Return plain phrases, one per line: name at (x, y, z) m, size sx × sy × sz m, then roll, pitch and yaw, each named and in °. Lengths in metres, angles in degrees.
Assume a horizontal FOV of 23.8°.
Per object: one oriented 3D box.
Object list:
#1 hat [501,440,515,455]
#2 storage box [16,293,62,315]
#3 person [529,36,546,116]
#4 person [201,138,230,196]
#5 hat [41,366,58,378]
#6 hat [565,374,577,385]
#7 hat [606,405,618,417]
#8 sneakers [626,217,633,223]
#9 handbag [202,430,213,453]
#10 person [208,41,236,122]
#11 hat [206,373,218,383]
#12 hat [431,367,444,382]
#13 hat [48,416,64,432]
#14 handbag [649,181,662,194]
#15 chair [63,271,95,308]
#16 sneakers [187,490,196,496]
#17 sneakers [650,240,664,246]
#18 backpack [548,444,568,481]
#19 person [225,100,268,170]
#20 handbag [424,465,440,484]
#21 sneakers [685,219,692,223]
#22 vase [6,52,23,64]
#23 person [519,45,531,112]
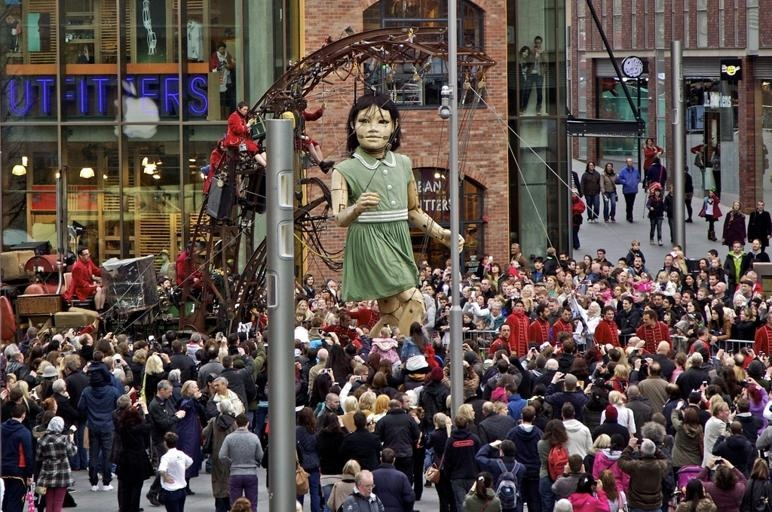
hat at (2.422, 3.805, 36.588) m, size 0.232 × 0.293 × 0.294 m, roll 1°, pitch 27°, yaw -5°
storage box at (-8.953, 1.153, 47.439) m, size 0.968 × 0.480 × 0.525 m, roll 0°, pitch 2°, yaw 3°
person at (4.703, -5.647, 57.061) m, size 0.453 × 2.392 × 0.284 m, roll -1°, pitch -2°, yaw 5°
person at (-4.369, -2.244, 46.737) m, size 0.427 × 1.474 × 0.439 m, roll 14°, pitch 7°, yaw 13°
hat at (-7.243, 2.438, 39.390) m, size 0.249 × 0.123 × 0.251 m, roll -3°, pitch 1°, yaw -45°
hat at (3.823, 2.526, 38.104) m, size 0.212 × 0.215 × 0.320 m, roll 2°, pitch -17°, yaw 5°
hat at (4.541, 3.103, 37.124) m, size 0.234 × 0.244 × 0.187 m, roll -1°, pitch -2°, yaw 2°
sneakers at (8.232, -1.249, 62.179) m, size 0.107 × 0.129 × 0.174 m, roll 2°, pitch -11°, yaw -25°
handbag at (-3.721, 3.752, 38.360) m, size 0.201 × 0.658 × 0.395 m, roll 0°, pitch -2°, yaw -8°
person at (-4.943, -5.379, 55.639) m, size 0.774 × 2.264 × 0.215 m, roll 0°, pitch -2°, yaw -7°
hat at (-3.766, 2.591, 39.589) m, size 0.223 × 0.228 × 0.163 m, roll 19°, pitch 22°, yaw 41°
hat at (1.094, 2.475, 38.835) m, size 0.210 × 0.278 × 0.376 m, roll -2°, pitch -2°, yaw 35°
hat at (-6.878, 3.445, 38.228) m, size 0.250 × 0.325 × 0.325 m, roll 1°, pitch 11°, yaw -16°
handbag at (8.400, -2.158, 57.566) m, size 0.303 × 0.132 × 0.360 m, roll -25°, pitch 18°, yaw -39°
chair at (-8.263, 0.854, 47.920) m, size 0.899 × 1.094 × 0.805 m, roll 0°, pitch -1°, yaw 39°
sneakers at (-4.222, 5.069, 39.789) m, size 0.062 × 0.134 × 0.188 m, roll 5°, pitch 11°, yaw 37°
sneakers at (8.635, -0.457, 58.724) m, size 0.160 × 0.202 × 0.474 m, roll 0°, pitch 1°, yaw -24°
backpack at (3.471, 4.104, 36.996) m, size 0.461 × 0.611 × 0.343 m, roll -7°, pitch 19°, yaw -20°
person at (-3.576, -3.041, 45.881) m, size 0.992 × 1.605 × 0.753 m, roll 0°, pitch -2°, yaw -7°
handbag at (0.947, 4.420, 37.577) m, size 0.284 × 0.366 × 0.368 m, roll 0°, pitch -2°, yaw -4°
sneakers at (10.378, -1.260, 63.113) m, size 0.178 × 0.133 × 0.271 m, roll -1°, pitch -2°, yaw 9°
vase at (-11.198, -5.988, 55.445) m, size 0.268 × 0.286 × 0.157 m, roll 9°, pitch -12°, yaw 1°
person at (4.291, -5.514, 57.044) m, size 0.339 × 1.988 × 0.228 m, roll 0°, pitch -2°, yaw 1°
